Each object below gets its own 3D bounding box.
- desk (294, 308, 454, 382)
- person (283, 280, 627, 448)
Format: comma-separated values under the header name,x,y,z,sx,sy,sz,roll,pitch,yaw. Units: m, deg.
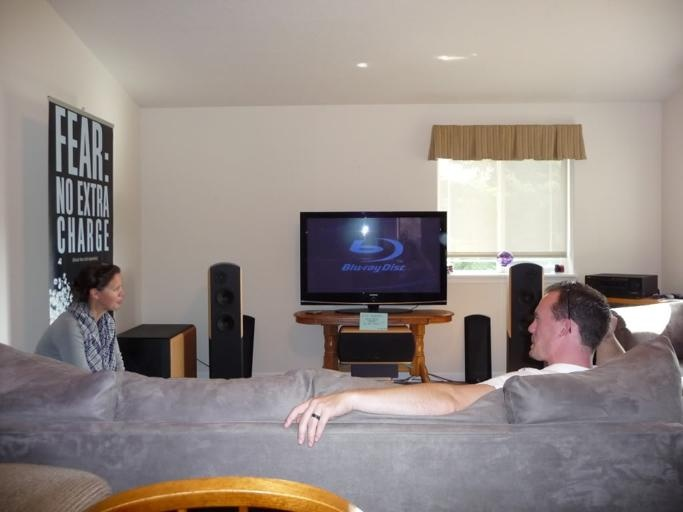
name,x,y,z,sx,sy,sz,roll,pitch,yaw
desk,0.277,0.768,4.772,1.298,0.680,0.562,0,6,-2
person,0.506,0.402,2.050,0.773,0.312,0.639,-2,-7,-5
